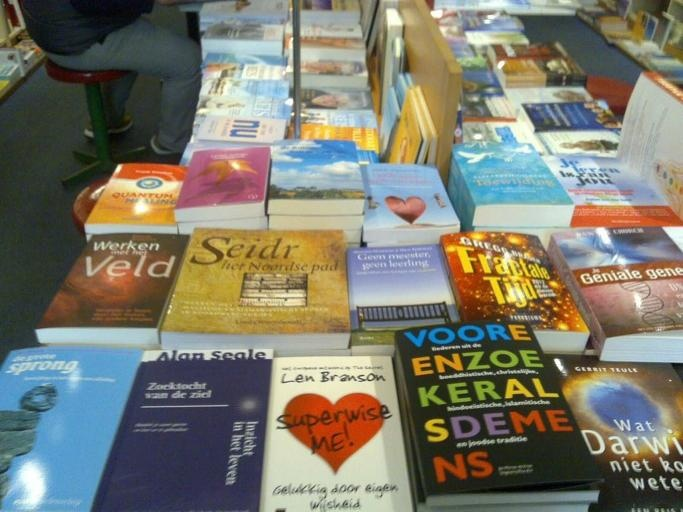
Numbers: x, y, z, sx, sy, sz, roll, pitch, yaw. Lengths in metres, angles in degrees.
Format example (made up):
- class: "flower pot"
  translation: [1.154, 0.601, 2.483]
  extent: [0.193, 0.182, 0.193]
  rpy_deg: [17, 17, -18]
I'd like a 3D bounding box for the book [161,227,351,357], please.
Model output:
- class: "book"
  translation: [-0.228, 0.087, 1.425]
  extent: [0.498, 0.144, 0.419]
  rpy_deg: [0, 38, -1]
